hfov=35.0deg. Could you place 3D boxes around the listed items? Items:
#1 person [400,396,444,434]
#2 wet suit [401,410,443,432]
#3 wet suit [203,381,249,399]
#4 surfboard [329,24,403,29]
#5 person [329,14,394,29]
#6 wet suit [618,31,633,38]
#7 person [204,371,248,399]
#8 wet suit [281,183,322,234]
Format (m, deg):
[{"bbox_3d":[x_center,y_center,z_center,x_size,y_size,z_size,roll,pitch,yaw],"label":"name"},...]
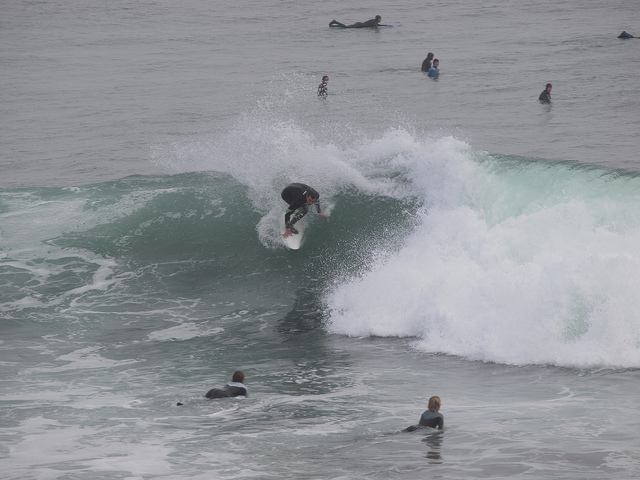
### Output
[{"bbox_3d":[2.476,4.206,24.476,0.949,0.780,0.437,-2,20,4],"label":"person"},{"bbox_3d":[2.441,4.376,24.541,0.910,0.359,0.497,-14,20,-18],"label":"wet suit"},{"bbox_3d":[-2.350,3.823,25.706,1.019,0.301,0.423,-4,23,-16],"label":"wet suit"},{"bbox_3d":[2.657,-12.627,60.312,4.672,0.335,0.534,-1,22,-6],"label":"surfboard"},{"bbox_3d":[2.232,-12.765,60.317,3.076,0.517,1.393,0,7,-3],"label":"person"},{"bbox_3d":[16.841,-11.319,56.252,0.735,0.337,1.080,5,17,24],"label":"wet suit"},{"bbox_3d":[-2.382,3.671,25.733,1.140,0.573,0.617,-5,18,-10],"label":"person"},{"bbox_3d":[-0.648,-0.842,30.259,0.759,1.640,1.136,-8,20,-10],"label":"wet suit"}]
